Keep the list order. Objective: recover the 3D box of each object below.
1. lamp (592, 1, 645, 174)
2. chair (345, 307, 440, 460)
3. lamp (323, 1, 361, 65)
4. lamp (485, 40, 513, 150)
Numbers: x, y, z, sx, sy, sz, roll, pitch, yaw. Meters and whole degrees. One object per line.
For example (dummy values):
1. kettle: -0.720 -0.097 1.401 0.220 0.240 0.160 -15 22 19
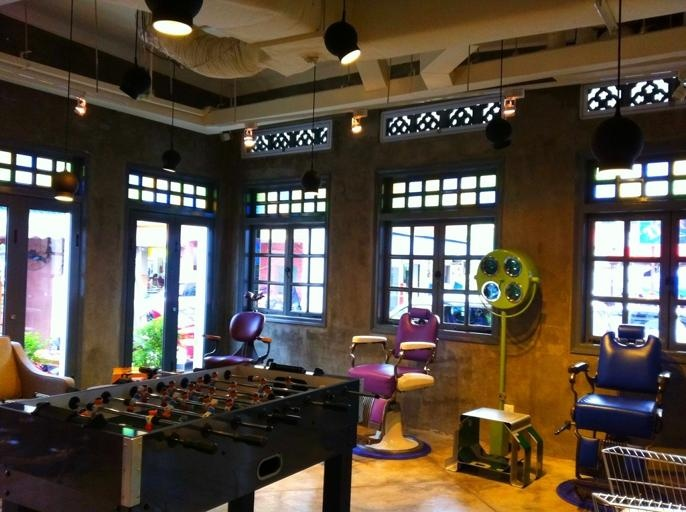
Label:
1. lamp: 2.176 -1.345 4.886 0.335 1.417 1.325 3 4 26
2. chair: 0.567 1.367 7.141 0.990 1.539 1.133 2 4 9
3. lamp: -0.016 -1.852 5.177 0.270 0.632 0.649 1 4 -1
4. lamp: 1.669 -1.739 6.647 0.229 1.265 0.945 2 4 15
